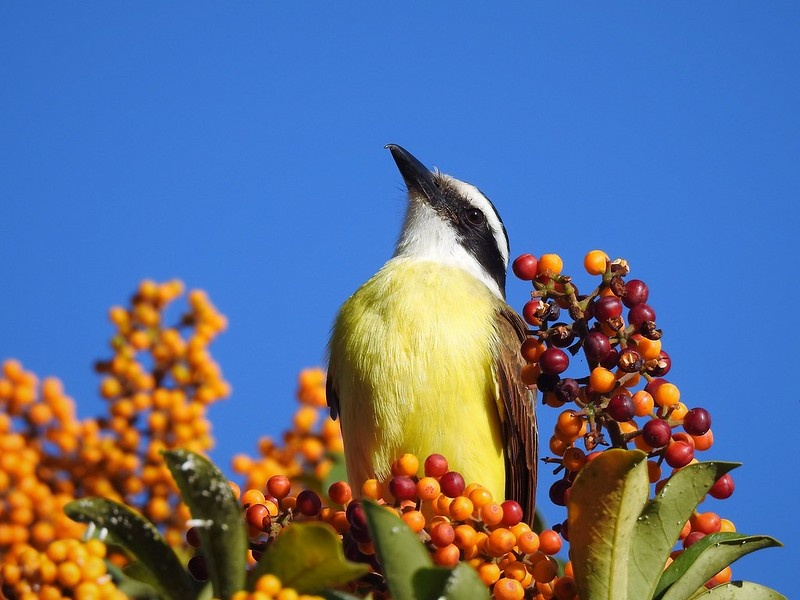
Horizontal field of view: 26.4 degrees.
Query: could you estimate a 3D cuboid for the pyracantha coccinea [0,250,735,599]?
[{"bbox_3d":[0.059,0.380,4.087,1.444,0.904,0.578,-7,-48,4],"label":"pyracantha coccinea"}]
